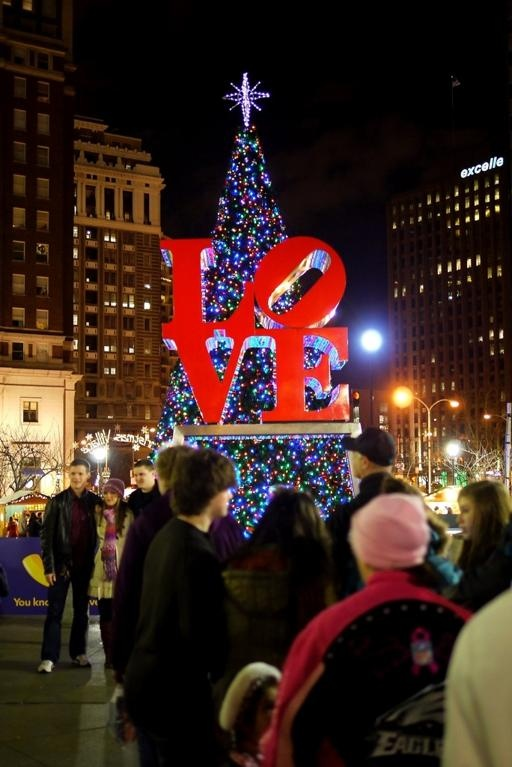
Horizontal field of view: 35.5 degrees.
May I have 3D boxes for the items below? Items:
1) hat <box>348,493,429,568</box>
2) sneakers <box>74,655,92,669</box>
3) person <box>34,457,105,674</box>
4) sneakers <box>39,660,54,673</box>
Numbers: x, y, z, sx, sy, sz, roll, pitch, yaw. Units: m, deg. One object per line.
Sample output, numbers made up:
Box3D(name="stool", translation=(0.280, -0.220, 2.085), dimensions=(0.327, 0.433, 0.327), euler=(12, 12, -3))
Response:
Box3D(name="hat", translation=(0.374, 0.425, 2.267), dimensions=(0.205, 0.214, 0.144), euler=(-2, -5, 15))
Box3D(name="sneakers", translation=(-1.908, 3.023, 8.752), dimensions=(0.253, 0.107, 0.119), euler=(-4, -6, 38))
Box3D(name="person", translation=(-2.046, 1.970, 8.820), dimensions=(0.587, 2.273, 0.842), euler=(0, -5, -4))
Box3D(name="sneakers", translation=(-2.196, 2.967, 8.442), dimensions=(0.161, 0.126, 0.298), euler=(1, -5, -15))
